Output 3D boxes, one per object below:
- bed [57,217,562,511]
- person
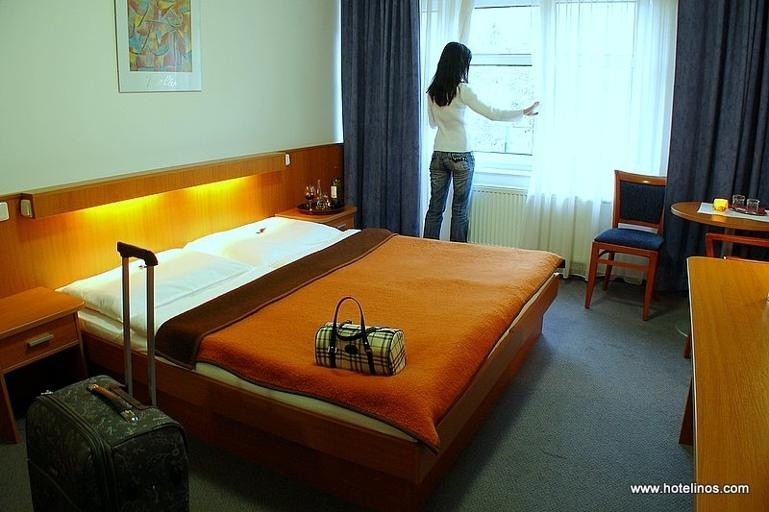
[{"bbox_3d":[-0.051,0.434,3.540,1.975,0.591,2.052,8,25,33],"label":"bed"},{"bbox_3d":[1.070,-1.146,5.705,1.143,2.305,0.793,7,30,16],"label":"person"}]
